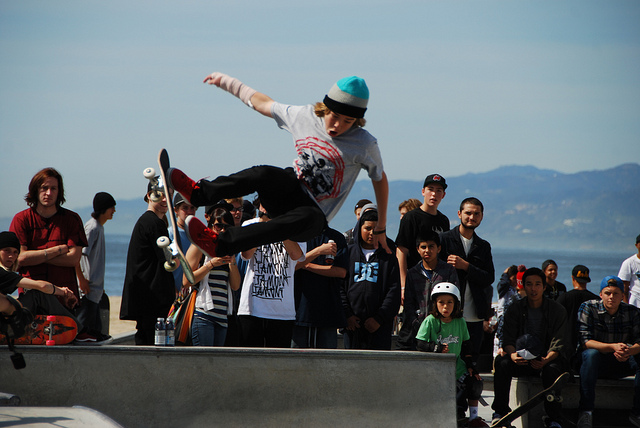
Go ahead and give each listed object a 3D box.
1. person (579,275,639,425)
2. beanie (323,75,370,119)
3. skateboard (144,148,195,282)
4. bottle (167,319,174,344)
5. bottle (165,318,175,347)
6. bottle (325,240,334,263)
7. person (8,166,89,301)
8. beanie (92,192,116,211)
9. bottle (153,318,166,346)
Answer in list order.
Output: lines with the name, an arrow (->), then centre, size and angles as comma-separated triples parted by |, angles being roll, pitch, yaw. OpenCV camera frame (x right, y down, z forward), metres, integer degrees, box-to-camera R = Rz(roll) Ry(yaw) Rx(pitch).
person -> 4.481, 2.109, 18.437 | 0.931, 2.292, 0.537 | 5, -4, -6
beanie -> 0.382, -1.683, 16.850 | 0.673, 0.584, 0.753 | 14, 13, 6
skateboard -> -2.180, 0.171, 17.195 | 0.265, 1.904, 0.483 | -11, -7, -30
bottle -> -2.119, 1.660, 16.931 | 0.104, 0.316, 0.052 | 5, -4, -9
bottle -> -2.126, 1.666, 16.926 | 0.154, 0.383, 0.278 | 5, -4, -7
bottle -> 0.156, 0.565, 18.269 | 0.141, 0.352, 0.200 | 4, -4, 0
person -> -3.970, 0.259, 17.532 | 1.105, 1.877, 0.479 | 5, -4, -16
beanie -> -3.272, -0.180, 18.051 | 0.283, 0.251, 0.290 | -13, -5, 33
bottle -> -2.243, 1.657, 16.869 | 0.161, 0.378, 0.180 | 5, -4, -6
